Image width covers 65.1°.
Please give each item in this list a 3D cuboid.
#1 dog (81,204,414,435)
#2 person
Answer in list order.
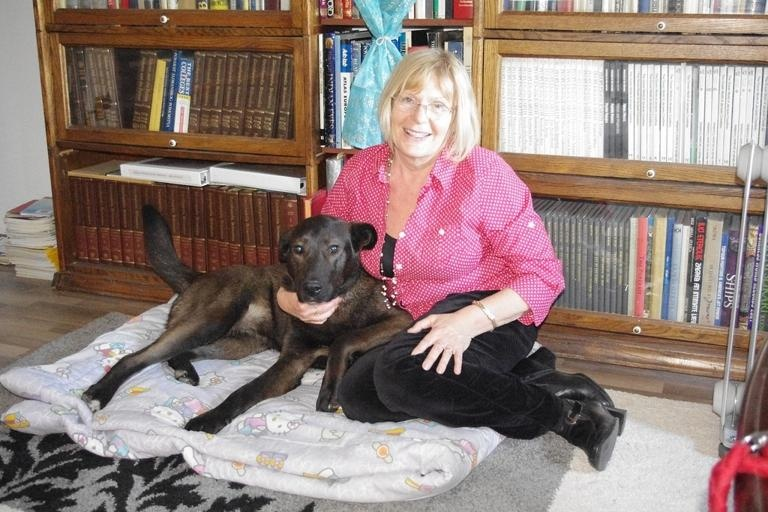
[{"bbox_3d":[-0.566,0.265,2.464,1.066,0.582,1.068,-2,0,45],"label":"dog"},{"bbox_3d":[0.338,0.033,2.403,0.988,1.188,1.578,-20,29,-39],"label":"person"}]
